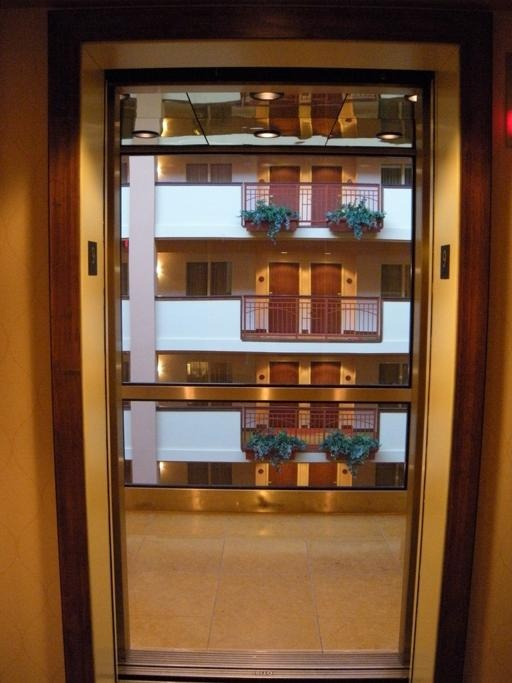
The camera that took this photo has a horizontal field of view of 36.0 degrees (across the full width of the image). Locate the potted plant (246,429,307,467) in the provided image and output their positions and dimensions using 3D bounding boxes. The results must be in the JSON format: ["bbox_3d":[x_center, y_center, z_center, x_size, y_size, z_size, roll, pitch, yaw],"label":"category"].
[{"bbox_3d":[0.115,0.639,4.808,0.224,0.144,0.294,1,5,-2],"label":"potted plant"}]

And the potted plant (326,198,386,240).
[{"bbox_3d":[0.533,-0.672,4.311,0.226,0.203,0.093,9,25,44],"label":"potted plant"}]

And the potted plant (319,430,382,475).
[{"bbox_3d":[0.578,0.664,4.764,0.269,0.147,0.264,-5,-9,41],"label":"potted plant"}]
